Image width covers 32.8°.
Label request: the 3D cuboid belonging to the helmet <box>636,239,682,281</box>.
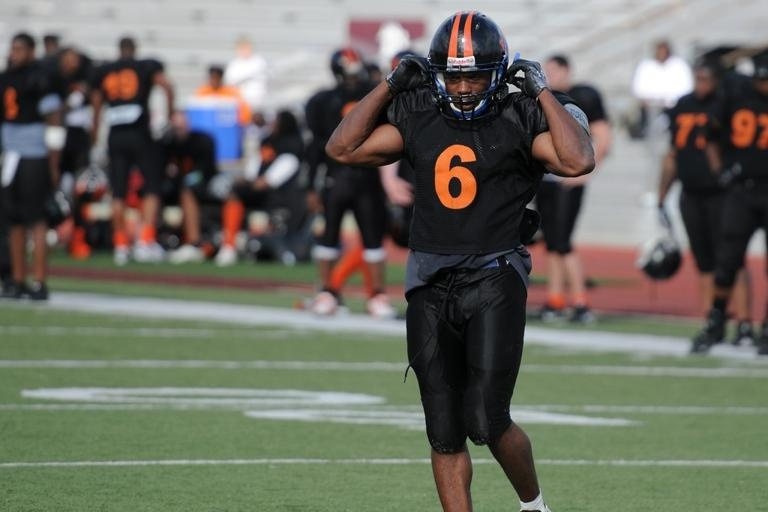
[{"bbox_3d":[2.610,0.021,12.311,0.396,0.395,0.360,4,5,7],"label":"helmet"}]

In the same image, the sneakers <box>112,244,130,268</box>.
[{"bbox_3d":[-3.099,-0.022,15.361,0.207,0.280,0.287,2,-7,-8],"label":"sneakers"}]

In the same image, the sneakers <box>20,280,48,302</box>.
[{"bbox_3d":[-3.035,0.295,11.394,0.195,0.129,0.282,2,5,-17],"label":"sneakers"}]

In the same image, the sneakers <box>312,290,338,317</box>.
[{"bbox_3d":[-0.610,0.481,13.548,0.202,0.267,0.266,8,11,26],"label":"sneakers"}]
